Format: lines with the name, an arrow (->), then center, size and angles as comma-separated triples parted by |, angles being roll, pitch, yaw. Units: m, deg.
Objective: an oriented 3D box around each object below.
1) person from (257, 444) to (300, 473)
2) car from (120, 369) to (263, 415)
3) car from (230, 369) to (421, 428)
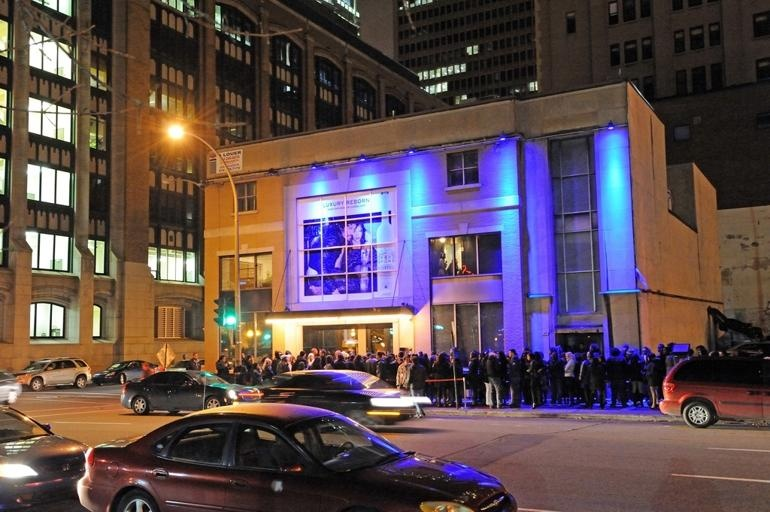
person -> -2.967, 5.790, 22.959 | 1.227, 0.706, 0.199 | -7, -12, 20
car -> -9.223, 6.628, 38.613 | 6.167, 1.919, 2.681 | -6, -12, 17
car -> -1.876, 5.976, 34.441 | 6.323, 1.690, 2.634 | 0, -10, 17
